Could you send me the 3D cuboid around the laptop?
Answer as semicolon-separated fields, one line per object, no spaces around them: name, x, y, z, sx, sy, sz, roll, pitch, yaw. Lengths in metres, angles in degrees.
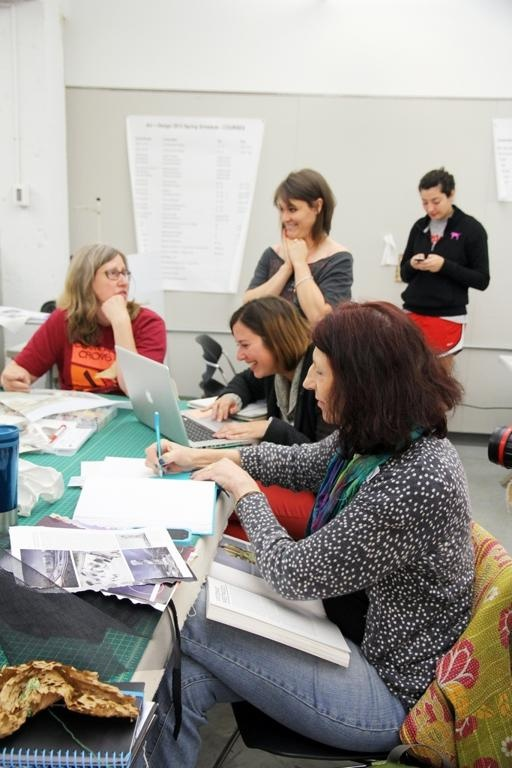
laptop;-0.197;0.034;1.519;0.236;0.184;0.304;-1;12;-37

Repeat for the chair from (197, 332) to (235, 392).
chair;-0.169;-0.118;2.778;0.158;0.278;0.162;4;38;28

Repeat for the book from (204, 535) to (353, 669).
book;0.010;0.372;1.054;0.251;0.068;0.351;22;-4;-6

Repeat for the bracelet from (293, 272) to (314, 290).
bracelet;0.200;-0.426;2.404;0.073;0.020;0.059;-44;20;-19
